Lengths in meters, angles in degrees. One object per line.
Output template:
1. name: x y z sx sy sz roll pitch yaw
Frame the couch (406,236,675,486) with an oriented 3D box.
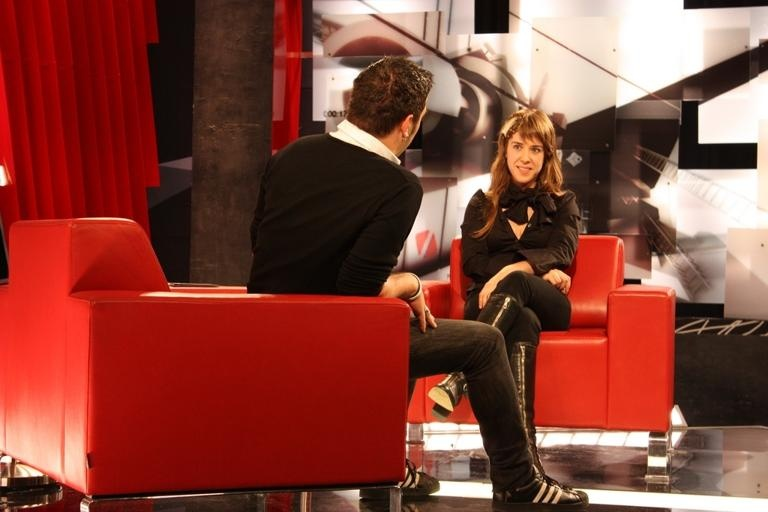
1. couch: 0.843 0.475 3.830 1.407 1.226 0.769 -1 -4 20

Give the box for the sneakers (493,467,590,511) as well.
1. sneakers: 0.645 0.961 2.868 0.463 0.183 0.152 0 -2 -7

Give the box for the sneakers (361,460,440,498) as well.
1. sneakers: 0.100 1.004 3.089 0.311 0.113 0.111 -7 -4 -10
